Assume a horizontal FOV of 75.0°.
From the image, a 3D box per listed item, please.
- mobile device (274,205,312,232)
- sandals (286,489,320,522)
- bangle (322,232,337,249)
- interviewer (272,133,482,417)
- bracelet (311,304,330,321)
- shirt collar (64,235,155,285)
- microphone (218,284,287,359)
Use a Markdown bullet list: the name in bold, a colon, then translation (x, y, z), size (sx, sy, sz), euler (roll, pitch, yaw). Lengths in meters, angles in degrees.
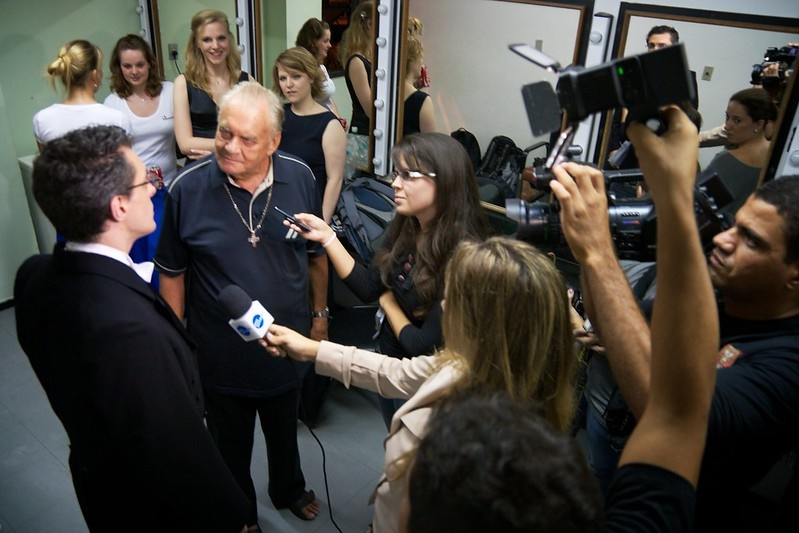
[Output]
- **mobile device**: translation (-0.477, -0.207, 2.302), size (0.187, 0.045, 0.080), euler (33, -10, -1)
- **sandals**: translation (-0.502, 1.220, 2.694), size (0.163, 0.073, 0.102), euler (10, 25, 33)
- **bangle**: translation (-0.324, -0.126, 2.366), size (0.060, 0.048, 0.063), euler (-8, 21, 0)
- **interviewer**: translation (-0.038, 0.369, 2.477), size (0.888, 1.836, 0.552), euler (3, 9, 18)
- **bracelet**: translation (-0.408, 0.231, 2.700), size (0.078, 0.055, 0.080), euler (-9, -2, 27)
- **shirt collar**: translation (-1.046, -0.020, 1.902), size (0.289, 0.140, 0.243), euler (-1, 1, -17)
- **microphone**: translation (-0.561, 0.167, 2.025), size (0.259, 0.217, 0.209), euler (-12, 30, -32)
